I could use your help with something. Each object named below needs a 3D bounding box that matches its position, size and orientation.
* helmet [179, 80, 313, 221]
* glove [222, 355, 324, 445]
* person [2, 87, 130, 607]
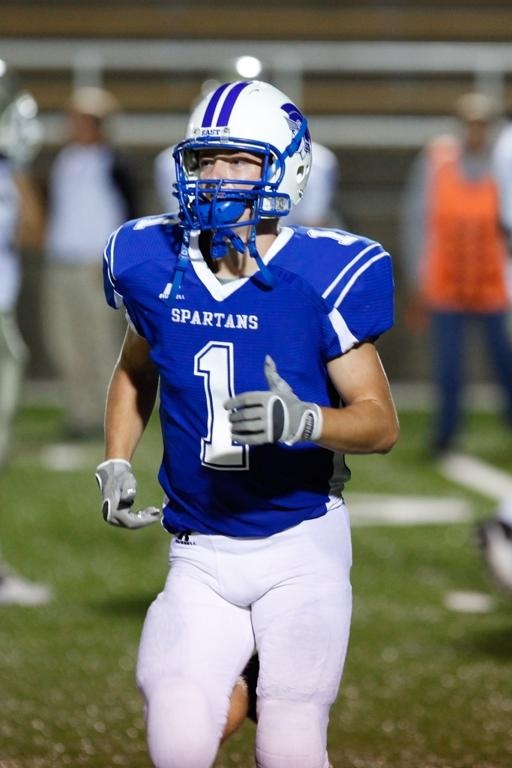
[{"bbox_3d":[-0.011,-0.450,1.664,0.240,0.215,0.289,9,25,19],"label":"helmet"},{"bbox_3d":[0.029,0.067,1.380,0.119,0.078,0.173,9,-15,5],"label":"glove"},{"bbox_3d":[-1.104,-0.545,5.696,0.898,2.574,0.550,3,18,6],"label":"person"}]
